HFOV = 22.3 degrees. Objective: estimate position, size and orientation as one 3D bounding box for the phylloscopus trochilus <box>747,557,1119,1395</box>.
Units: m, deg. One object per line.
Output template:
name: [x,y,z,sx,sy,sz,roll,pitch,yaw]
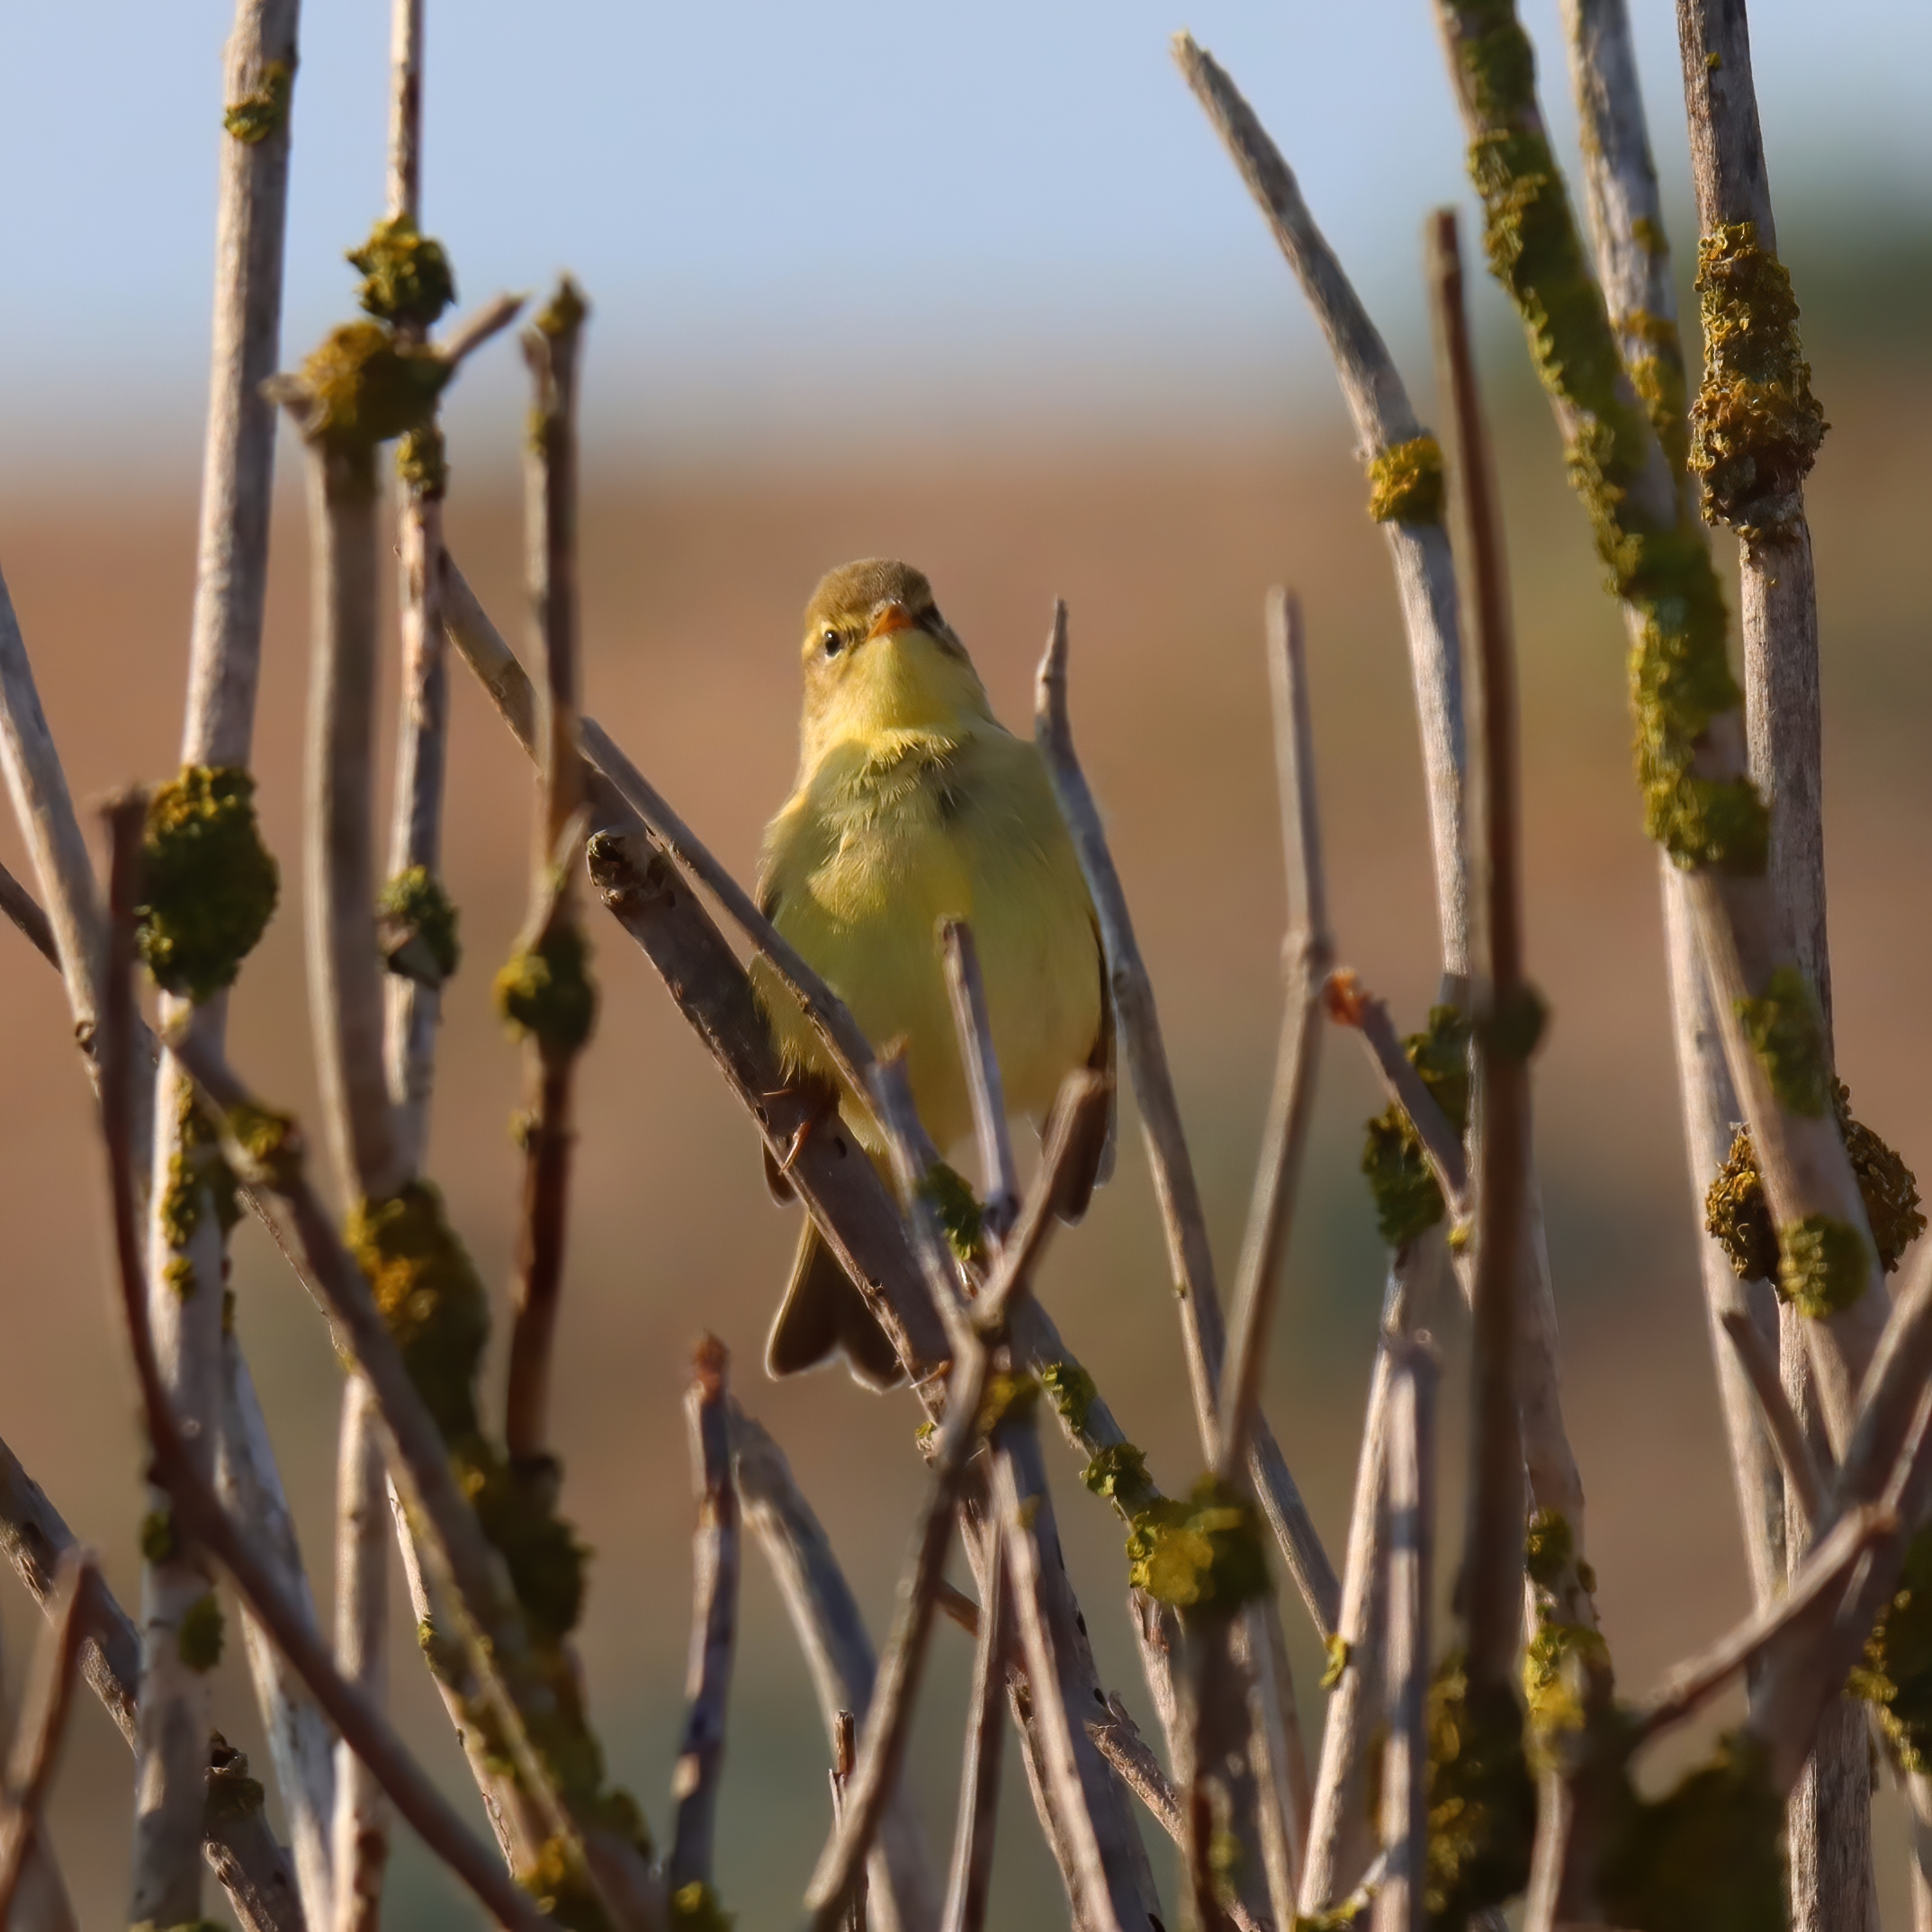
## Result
phylloscopus trochilus: [-0.036,0.038,5.985,0.357,1.057,0.459,0,1,17]
